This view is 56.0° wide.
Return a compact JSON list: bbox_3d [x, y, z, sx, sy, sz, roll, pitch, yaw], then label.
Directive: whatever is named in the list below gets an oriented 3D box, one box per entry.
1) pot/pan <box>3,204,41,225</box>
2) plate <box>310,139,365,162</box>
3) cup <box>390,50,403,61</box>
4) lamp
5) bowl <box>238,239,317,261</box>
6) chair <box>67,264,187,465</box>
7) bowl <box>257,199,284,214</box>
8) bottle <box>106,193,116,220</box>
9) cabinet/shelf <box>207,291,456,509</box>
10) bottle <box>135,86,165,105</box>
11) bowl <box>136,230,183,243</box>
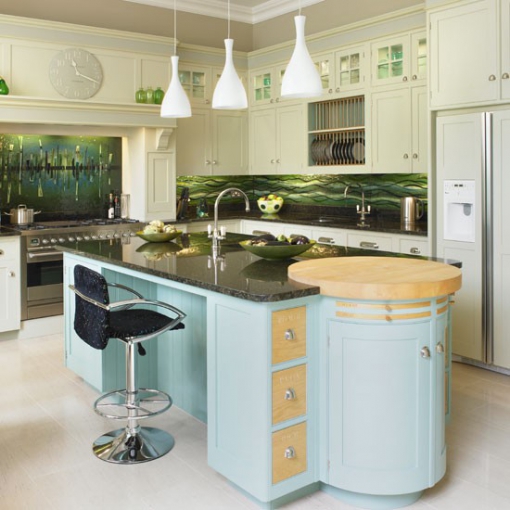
[{"bbox_3d":[-2.291,-0.363,4.692,0.357,0.179,0.214,-1,3,-42],"label":"pot/pan"},{"bbox_3d":[0.898,-1.103,5.170,0.303,0.155,0.400,-10,13,-40],"label":"plate"},{"bbox_3d":[1.313,-1.854,4.446,0.108,0.059,0.101,-1,9,0],"label":"cup"},{"bbox_3d":[-0.183,-1.120,2.856,0.730,0.639,1.530,-1,5,-12],"label":"lamp"},{"bbox_3d":[0.113,-0.017,2.528,0.365,0.105,0.212,1,5,13],"label":"bowl"},{"bbox_3d":[-0.650,0.525,2.570,0.620,1.002,0.991,-2,5,-19],"label":"chair"},{"bbox_3d":[0.185,-0.573,6.013,0.241,0.119,0.231,-1,0,0],"label":"bowl"},{"bbox_3d":[-1.598,-0.544,5.319,0.084,0.295,0.164,-2,5,-17],"label":"bottle"},{"bbox_3d":[0.386,0.410,2.245,1.150,0.974,0.863,-1,1,-35],"label":"cabinet/shelf"},{"bbox_3d":[-1.090,-1.660,5.016,0.153,0.220,0.332,4,7,44],"label":"bottle"},{"bbox_3d":[-0.678,-0.126,3.413,0.294,0.081,0.246,-1,5,-9],"label":"bowl"}]
